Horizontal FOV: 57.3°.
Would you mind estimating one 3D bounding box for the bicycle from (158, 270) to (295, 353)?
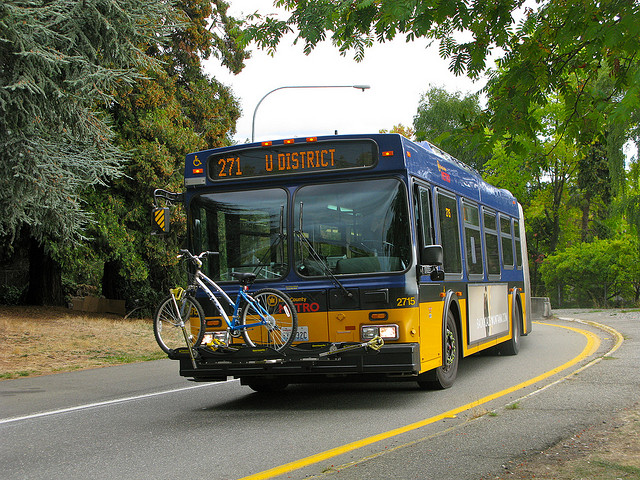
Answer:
[{"bbox_3d":[-1.447,0.953,8.579,2.243,1.484,1.060,-3,-1,11],"label":"bicycle"}]

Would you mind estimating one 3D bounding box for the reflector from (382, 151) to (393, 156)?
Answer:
[{"bbox_3d":[1.003,-1.260,8.620,0.135,0.073,0.053,-3,1,7],"label":"reflector"}]

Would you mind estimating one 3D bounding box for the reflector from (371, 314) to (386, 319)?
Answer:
[{"bbox_3d":[0.824,1.076,8.245,0.203,0.065,0.012,-3,-3,12],"label":"reflector"}]

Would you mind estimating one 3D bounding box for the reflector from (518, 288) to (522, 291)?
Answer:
[{"bbox_3d":[5.273,1.295,15.374,0.091,0.066,0.094,-7,-3,38],"label":"reflector"}]

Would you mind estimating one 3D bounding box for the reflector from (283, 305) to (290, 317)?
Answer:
[{"bbox_3d":[-0.483,1.014,8.351,0.042,0.183,0.047,-23,2,15],"label":"reflector"}]

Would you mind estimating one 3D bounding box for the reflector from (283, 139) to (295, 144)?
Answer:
[{"bbox_3d":[-0.488,-1.495,8.997,0.097,0.040,0.076,-3,-3,17],"label":"reflector"}]

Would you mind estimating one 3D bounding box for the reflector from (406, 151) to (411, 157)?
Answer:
[{"bbox_3d":[1.328,-1.265,8.758,0.012,0.085,0.169,-3,-4,29],"label":"reflector"}]

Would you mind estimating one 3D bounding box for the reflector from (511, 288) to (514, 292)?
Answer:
[{"bbox_3d":[4.789,1.229,14.523,0.063,0.106,0.117,-4,-3,20],"label":"reflector"}]

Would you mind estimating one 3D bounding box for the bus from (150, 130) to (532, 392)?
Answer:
[{"bbox_3d":[1.970,0.644,13.347,4.101,4.414,11.191,-5,-5,27],"label":"bus"}]

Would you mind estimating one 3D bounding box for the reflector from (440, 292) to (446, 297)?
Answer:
[{"bbox_3d":[2.000,0.883,9.500,0.068,0.088,0.096,1,9,21],"label":"reflector"}]

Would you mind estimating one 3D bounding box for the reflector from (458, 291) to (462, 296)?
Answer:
[{"bbox_3d":[2.500,0.959,10.426,0.061,0.044,0.063,-4,-11,28],"label":"reflector"}]
